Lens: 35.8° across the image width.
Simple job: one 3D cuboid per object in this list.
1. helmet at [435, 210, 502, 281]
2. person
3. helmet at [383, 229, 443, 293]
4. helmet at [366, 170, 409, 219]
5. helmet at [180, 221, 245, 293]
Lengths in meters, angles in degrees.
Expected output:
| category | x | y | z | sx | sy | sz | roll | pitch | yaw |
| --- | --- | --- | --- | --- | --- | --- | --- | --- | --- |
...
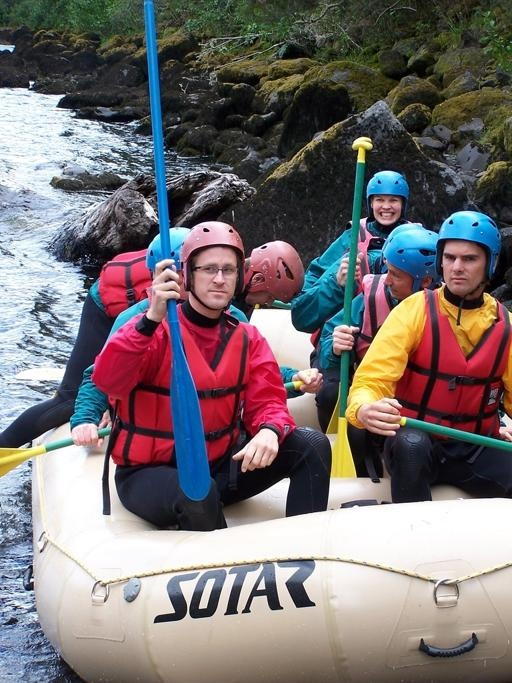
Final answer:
| category | x | y | z | sx | sy | sz | roll | pitch | yaw |
| --- | --- | --- | --- | --- | --- | --- | --- | --- | --- |
| helmet | 0.763 | -0.346 | 2.908 | 0.224 | 0.223 | 0.282 | -4 | -8 | 41 |
| person | 0.164 | 0.204 | 3.492 | 1.212 | 1.955 | 1.298 | 4 | -13 | -38 |
| helmet | 0.713 | -0.338 | 3.375 | 0.325 | 0.278 | 0.244 | -1 | 30 | 14 |
| helmet | 0.732 | -0.854 | 4.522 | 0.215 | 0.218 | 0.253 | 2 | -12 | 8 |
| helmet | -0.154 | -0.314 | 2.764 | 0.223 | 0.207 | 0.250 | 4 | -27 | -12 |
